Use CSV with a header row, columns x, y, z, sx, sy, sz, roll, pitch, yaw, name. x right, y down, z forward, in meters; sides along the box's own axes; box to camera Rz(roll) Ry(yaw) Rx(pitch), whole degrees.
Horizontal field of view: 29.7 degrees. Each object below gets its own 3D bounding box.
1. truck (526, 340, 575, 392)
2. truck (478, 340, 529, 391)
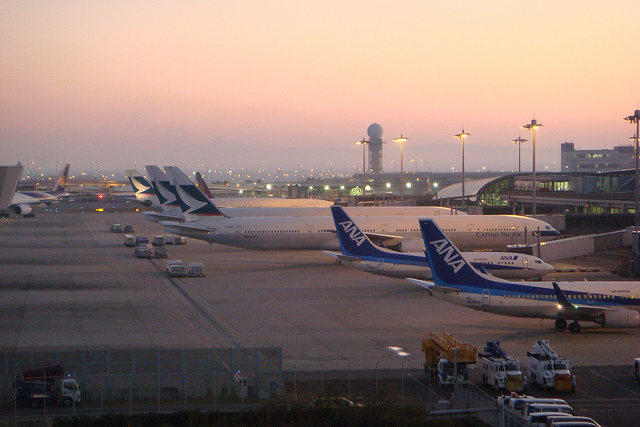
x,y,z,sx,sy,sz,roll,pitch,yaw,name
19.633,12.605,101.089,2.916,2.997,6.117,-4,6,-10,truck
15.181,12.784,101.139,2.558,2.638,5.287,0,0,-6,truck
